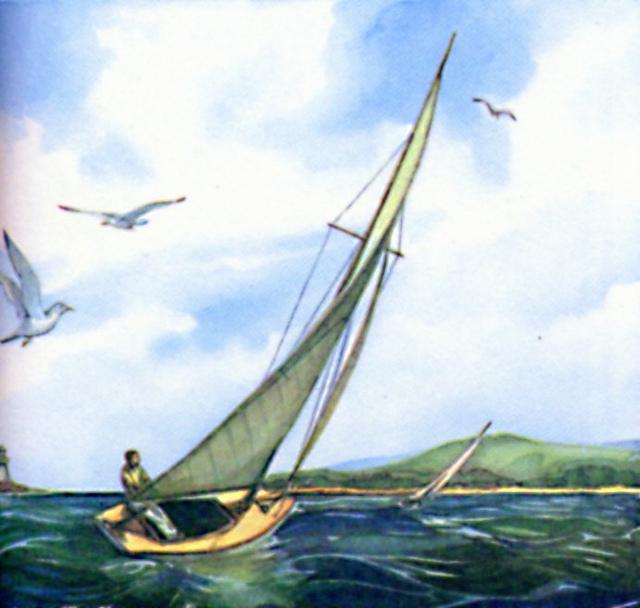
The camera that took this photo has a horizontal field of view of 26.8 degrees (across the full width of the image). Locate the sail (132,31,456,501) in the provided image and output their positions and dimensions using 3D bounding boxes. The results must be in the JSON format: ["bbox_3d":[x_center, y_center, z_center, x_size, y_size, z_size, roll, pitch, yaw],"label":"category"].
[{"bbox_3d":[0.357,-0.925,21.294,1.144,8.766,2.280,11,-12,47],"label":"sail"}]
